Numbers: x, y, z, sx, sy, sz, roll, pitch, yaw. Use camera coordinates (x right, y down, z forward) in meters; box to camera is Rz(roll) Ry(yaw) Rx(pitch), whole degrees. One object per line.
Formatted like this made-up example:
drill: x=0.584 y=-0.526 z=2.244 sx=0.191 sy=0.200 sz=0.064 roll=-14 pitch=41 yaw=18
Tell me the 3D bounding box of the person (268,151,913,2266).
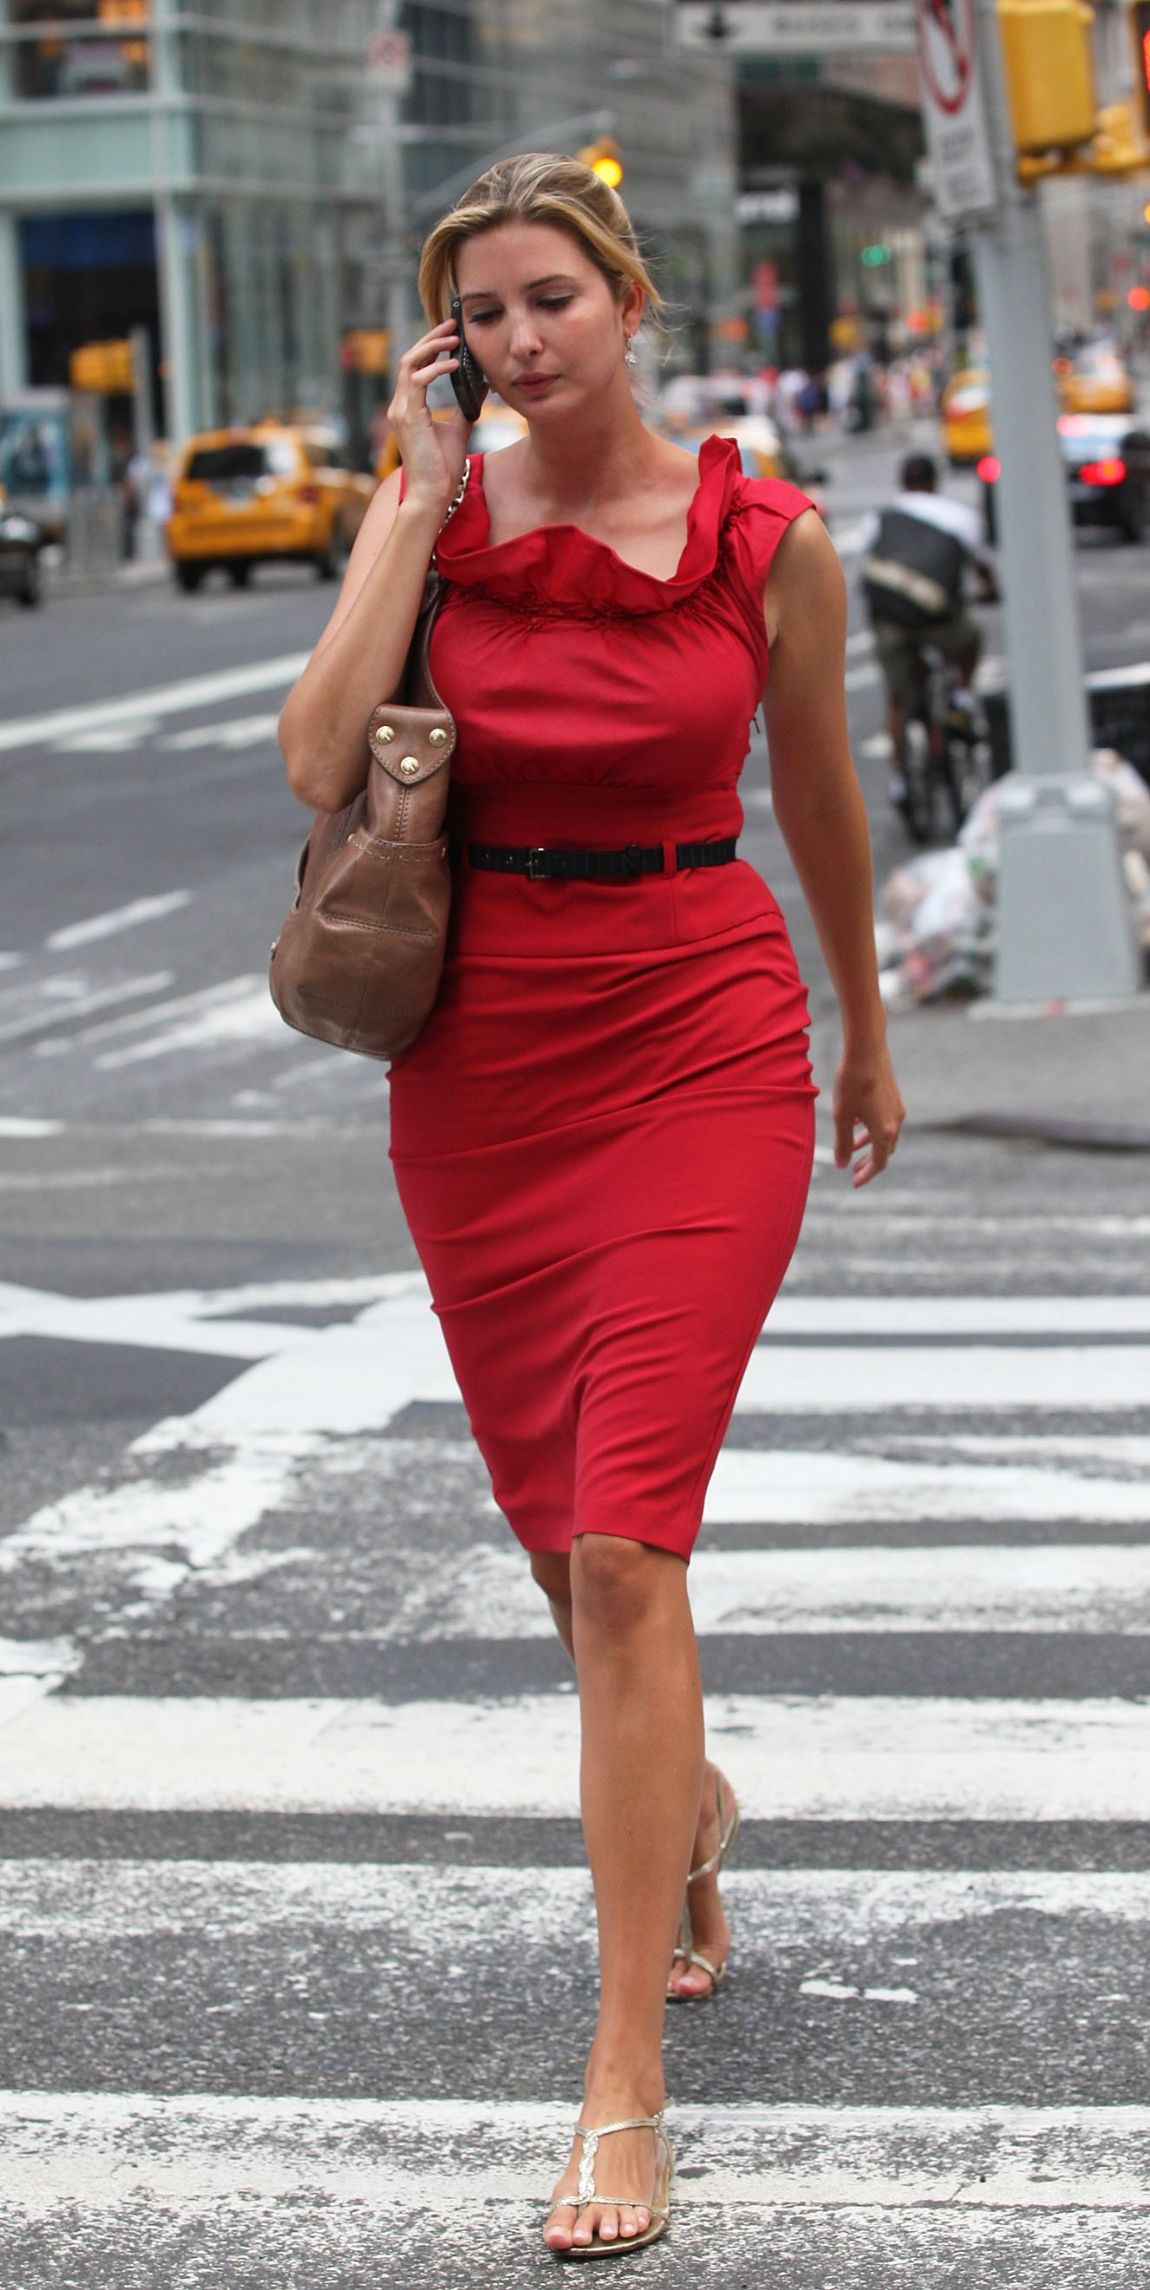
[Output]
person: x=-0.006 y=-0.019 z=2.349 sx=0.443 sy=1.837 sz=0.688 roll=-3 pitch=-2 yaw=33
